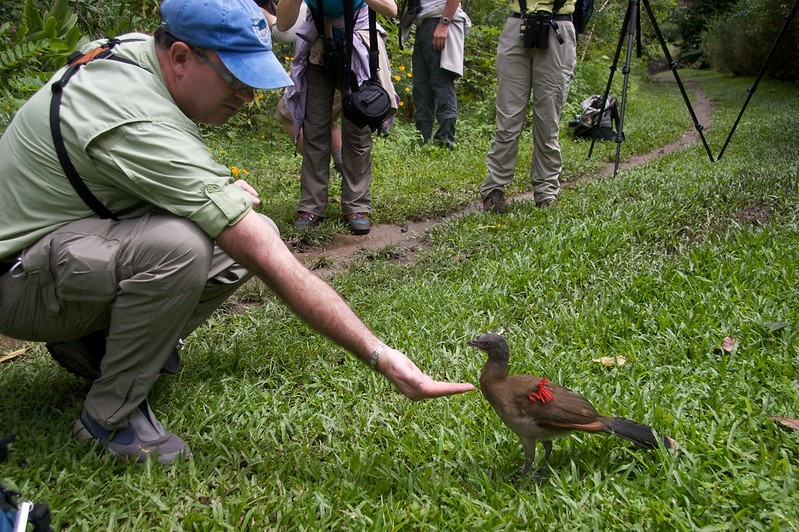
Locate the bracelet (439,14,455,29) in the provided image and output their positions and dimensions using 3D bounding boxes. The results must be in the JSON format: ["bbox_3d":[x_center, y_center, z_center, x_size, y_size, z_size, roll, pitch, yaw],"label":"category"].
[{"bbox_3d":[0.628,-3.232,8.413,0.169,0.108,0.167,16,13,-19],"label":"bracelet"}]

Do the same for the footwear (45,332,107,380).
[{"bbox_3d":[-1.893,0.529,3.778,0.228,0.266,0.188,-13,8,37],"label":"footwear"}]

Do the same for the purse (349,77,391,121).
[{"bbox_3d":[-0.269,-1.461,5.730,0.395,0.309,0.140,31,-27,-26],"label":"purse"}]

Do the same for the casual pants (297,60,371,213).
[{"bbox_3d":[-0.641,-1.247,6.270,0.782,1.844,0.484,-11,44,-17],"label":"casual pants"}]

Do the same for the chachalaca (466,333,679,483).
[{"bbox_3d":[0.875,0.768,3.349,1.017,0.772,0.319,0,-4,27],"label":"chachalaca"}]

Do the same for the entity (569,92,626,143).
[{"bbox_3d":[3.690,-2.733,11.854,0.899,0.942,0.674,9,6,6],"label":"entity"}]

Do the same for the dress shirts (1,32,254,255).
[{"bbox_3d":[-1.495,-0.576,3.377,0.995,1.089,1.415,12,16,-40],"label":"dress shirts"}]

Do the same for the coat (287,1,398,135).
[{"bbox_3d":[-0.599,-2.020,5.760,0.990,1.611,0.558,-1,5,-4],"label":"coat"}]
